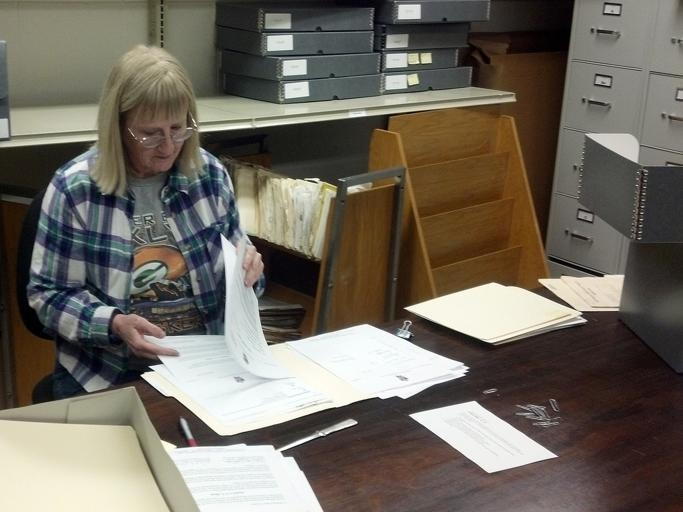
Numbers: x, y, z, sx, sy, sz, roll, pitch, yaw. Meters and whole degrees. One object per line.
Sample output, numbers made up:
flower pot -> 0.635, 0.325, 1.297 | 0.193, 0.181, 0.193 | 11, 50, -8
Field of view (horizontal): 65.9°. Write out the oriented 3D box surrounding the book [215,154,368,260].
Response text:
book -> -0.230, -0.257, 2.403 | 0.585, 0.194, 0.436 | 20, 18, 36

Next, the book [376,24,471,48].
book -> 0.441, -1.201, 2.892 | 0.351, 0.072, 0.303 | -6, 15, -21

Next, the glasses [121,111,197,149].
glasses -> -0.491, -0.352, 1.487 | 0.210, 0.082, 0.148 | -15, 25, -32

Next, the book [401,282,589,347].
book -> 0.477, 0.168, 1.552 | 0.260, 0.031, 0.251 | -14, 24, -33

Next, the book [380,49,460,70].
book -> 0.435, -1.088, 2.919 | 0.537, 0.107, 0.019 | -14, 26, -29

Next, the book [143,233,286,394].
book -> -0.284, 0.049, 1.279 | 0.349, 0.316, 0.481 | -2, 9, -17

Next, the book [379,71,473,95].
book -> 0.479, -0.990, 2.970 | 0.345, 0.068, 0.294 | -4, 14, -9

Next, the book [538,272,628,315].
book -> 0.823, 0.117, 1.728 | 0.158, 0.017, 0.173 | -11, 22, -25

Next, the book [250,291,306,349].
book -> -0.311, 0.301, 2.489 | 0.238, 0.080, 0.231 | -5, 12, -38
